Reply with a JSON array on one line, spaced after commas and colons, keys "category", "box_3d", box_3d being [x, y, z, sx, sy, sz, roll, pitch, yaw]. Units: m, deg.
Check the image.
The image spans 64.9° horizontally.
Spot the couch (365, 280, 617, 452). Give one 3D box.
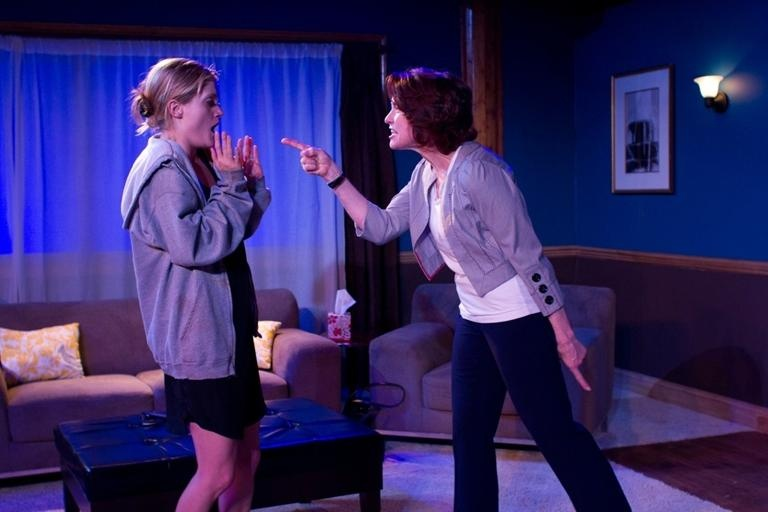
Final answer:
[{"category": "couch", "box_3d": [0.840, 0.885, 4.742, 1.621, 1.409, 1.164, -1, -5, 21]}]

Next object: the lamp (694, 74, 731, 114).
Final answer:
[{"category": "lamp", "box_3d": [2.755, -1.373, 5.094, 0.202, 0.315, 0.214, -4, 8, -30]}]

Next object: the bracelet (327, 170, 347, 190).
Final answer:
[{"category": "bracelet", "box_3d": [-0.218, -0.353, 2.865, 0.096, 0.055, 0.093, -47, 5, 10]}]

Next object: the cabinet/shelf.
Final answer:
[{"category": "cabinet/shelf", "box_3d": [-0.296, 1.165, 5.469, 0.469, 0.775, 0.482, -3, -9, 22]}]

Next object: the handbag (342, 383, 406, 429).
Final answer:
[{"category": "handbag", "box_3d": [-0.073, 1.115, 4.578, 0.394, 0.243, 0.335, -6, 4, 21]}]
